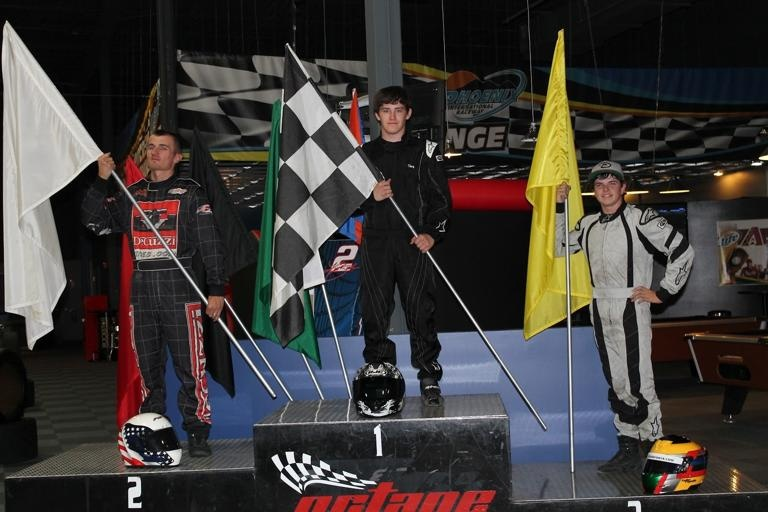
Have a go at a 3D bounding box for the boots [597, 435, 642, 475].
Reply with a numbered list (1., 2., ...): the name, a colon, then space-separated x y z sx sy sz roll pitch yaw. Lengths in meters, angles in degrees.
1. boots: 1.914 1.604 6.396 0.423 0.219 0.218 -6 10 -24

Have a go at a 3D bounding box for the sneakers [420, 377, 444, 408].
1. sneakers: 0.381 1.067 6.284 0.169 0.188 0.277 -1 10 -1

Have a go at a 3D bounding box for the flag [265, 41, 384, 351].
1. flag: -0.545 -0.493 6.446 0.816 2.375 0.417 -3 8 -9

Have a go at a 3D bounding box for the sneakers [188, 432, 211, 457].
1. sneakers: -1.472 1.506 6.344 0.181 0.170 0.194 -4 10 -16

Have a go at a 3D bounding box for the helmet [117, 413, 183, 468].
1. helmet: -1.852 1.466 6.325 0.511 0.417 0.398 -2 -5 11

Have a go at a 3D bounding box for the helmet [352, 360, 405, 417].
1. helmet: -0.033 1.055 6.293 0.397 0.458 0.552 -3 -13 4

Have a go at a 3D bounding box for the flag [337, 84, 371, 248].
1. flag: -0.318 -1.129 7.779 0.301 0.216 1.535 9 -33 -1

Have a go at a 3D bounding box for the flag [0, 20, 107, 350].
1. flag: -2.719 -0.597 6.362 0.670 2.465 0.488 -5 9 -22

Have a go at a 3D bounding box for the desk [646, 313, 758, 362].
1. desk: 3.711 0.980 9.248 0.855 0.323 0.625 -4 11 4

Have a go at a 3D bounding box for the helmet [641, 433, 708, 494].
1. helmet: 2.256 1.606 6.155 0.494 0.426 0.385 -2 0 -13
